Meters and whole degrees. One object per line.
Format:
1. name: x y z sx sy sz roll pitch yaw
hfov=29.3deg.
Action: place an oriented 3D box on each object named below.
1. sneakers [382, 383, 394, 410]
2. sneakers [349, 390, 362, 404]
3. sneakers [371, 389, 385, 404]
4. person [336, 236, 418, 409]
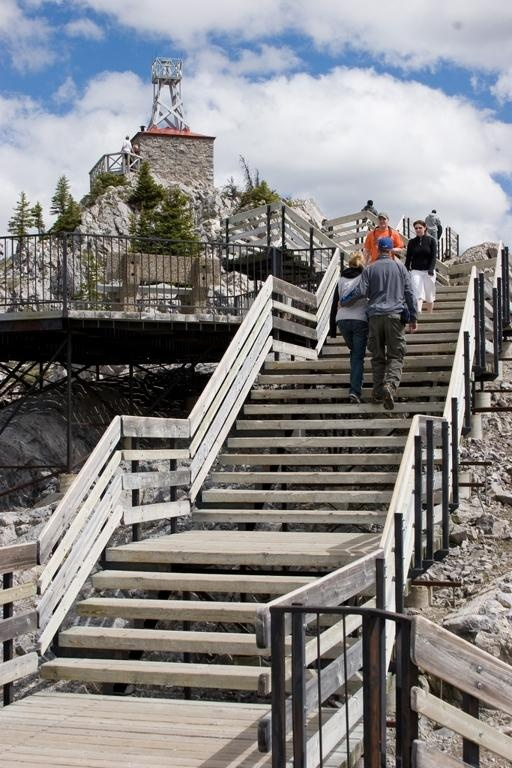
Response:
1. sneakers: 1.132 0.144 8.410 0.075 0.254 0.102 -5 19 2
2. sneakers: 0.918 0.129 9.077 0.060 0.093 0.195 -3 -15 6
3. sneakers: 1.104 0.129 8.678 0.082 0.155 0.145 2 -5 -15
4. person: 1.159 -0.441 8.692 0.494 1.332 0.875 1 9 -8
